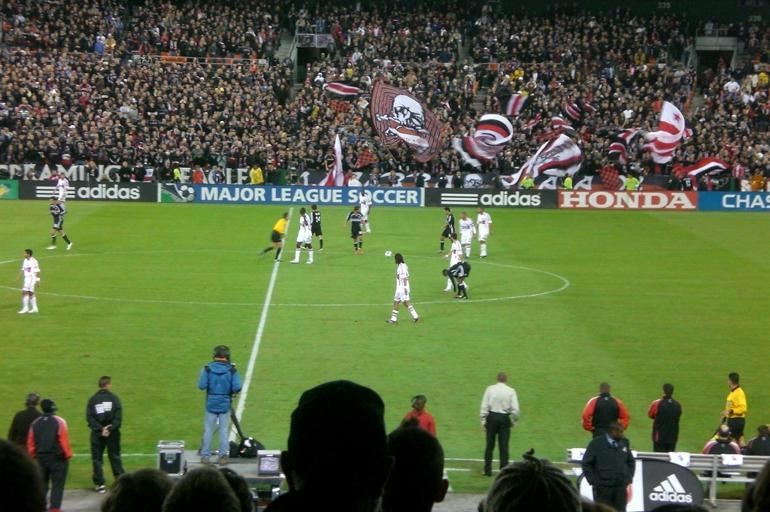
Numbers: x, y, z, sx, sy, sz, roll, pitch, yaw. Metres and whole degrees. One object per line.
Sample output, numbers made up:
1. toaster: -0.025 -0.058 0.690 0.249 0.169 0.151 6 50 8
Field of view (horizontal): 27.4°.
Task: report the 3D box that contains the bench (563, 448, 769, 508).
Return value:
1. bench: 14.840 10.885 75.676 6.236 2.695 2.268 1 2 -14
